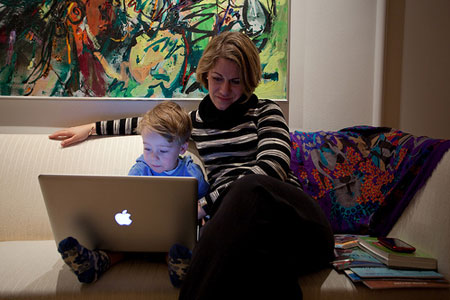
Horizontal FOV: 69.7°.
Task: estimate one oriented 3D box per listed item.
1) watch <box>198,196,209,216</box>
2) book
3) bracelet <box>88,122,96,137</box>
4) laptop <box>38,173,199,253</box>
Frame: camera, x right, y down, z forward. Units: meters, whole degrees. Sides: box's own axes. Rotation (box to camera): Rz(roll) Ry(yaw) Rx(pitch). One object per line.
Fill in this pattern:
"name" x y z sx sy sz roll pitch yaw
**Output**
"watch" -0.110 0.298 1.714 0.067 0.087 0.093 -1 -2 6
"book" 0.810 0.599 1.675 0.303 0.072 0.305 6 8 -3
"bracelet" -0.894 -0.142 2.177 0.018 0.072 0.054 27 16 -25
"laptop" -0.482 0.301 1.737 0.587 0.385 0.410 1 18 1
